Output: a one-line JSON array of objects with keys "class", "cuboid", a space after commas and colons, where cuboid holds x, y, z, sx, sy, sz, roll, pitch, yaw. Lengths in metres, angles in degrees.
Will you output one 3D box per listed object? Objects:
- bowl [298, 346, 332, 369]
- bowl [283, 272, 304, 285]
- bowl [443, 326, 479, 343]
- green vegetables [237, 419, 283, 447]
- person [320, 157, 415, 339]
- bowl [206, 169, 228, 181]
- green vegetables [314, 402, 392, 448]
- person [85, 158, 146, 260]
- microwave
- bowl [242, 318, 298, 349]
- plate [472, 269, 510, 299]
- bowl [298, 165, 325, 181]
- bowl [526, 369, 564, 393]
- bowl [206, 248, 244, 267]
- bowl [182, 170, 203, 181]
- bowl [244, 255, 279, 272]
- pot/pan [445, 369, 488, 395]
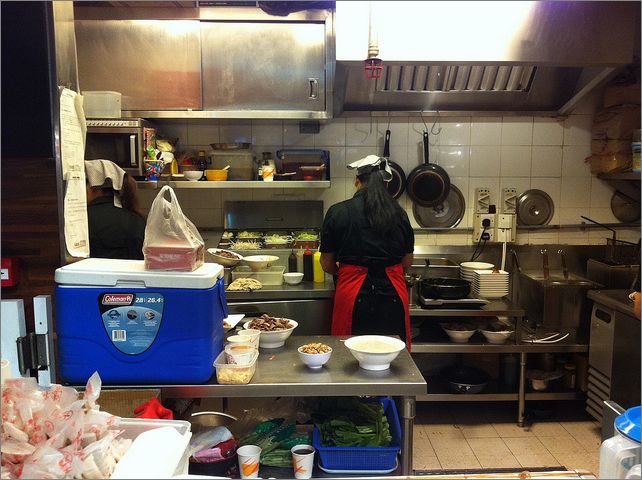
[{"class": "bowl", "cuboid": [-0.026, 0.503, 2.222, 0.109, 0.060, 0.104, 0, -1, 0]}, {"class": "bowl", "cuboid": [-0.198, 0.276, 3.687, 0.146, 0.088, 0.151, -1, 9, 0]}, {"class": "bowl", "cuboid": [1.049, 0.715, 3.854, 0.236, 0.102, 0.147, -1, 9, 0]}, {"class": "green vegetables", "cuboid": [-0.261, 0.846, 2.301, 0.275, 0.062, 0.068, -12, -18, -36]}, {"class": "person", "cuboid": [0.294, 0.071, 3.277, 0.592, 1.201, 0.335, -1, 10, -1]}, {"class": "bowl", "cuboid": [-0.837, -0.510, 4.071, 0.117, 0.048, 0.113, 1, 3, 0]}, {"class": "green vegetables", "cuboid": [0.129, 0.788, 2.267, 0.253, 0.163, 0.311, 0, 4, -3]}, {"class": "person", "cuboid": [-1.338, -0.181, 3.427, 0.428, 0.755, 0.429, 4, 13, -5]}, {"class": "microwave", "cuboid": [-1.469, -0.696, 3.952, 0.582, 0.507, 0.397, 1, 4, -1]}, {"class": "bowl", "cuboid": [-0.242, 0.466, 2.476, 0.271, 0.094, 0.256, 0, -3, 0]}, {"class": "plate", "cuboid": [1.309, 0.342, 3.918, 0.214, 0.149, 0.253, 0, 1, 3]}, {"class": "bowl", "cuboid": [-0.066, -0.538, 4.079, 0.187, 0.110, 0.120, 0, 1, -1]}, {"class": "bowl", "cuboid": [1.725, 1.075, 3.951, 0.261, 0.124, 0.232, 2, 9, 21]}, {"class": "bowl", "cuboid": [-0.697, 0.126, 3.691, 0.168, 0.064, 0.169, 18, -1, 0]}, {"class": "bowl", "cuboid": [-1.012, -0.520, 4.098, 0.155, 0.080, 0.127, -6, 10, -28]}, {"class": "bowl", "cuboid": [-0.429, 0.175, 3.655, 0.224, 0.100, 0.110, -3, 9, -11]}, {"class": "pot/pan", "cuboid": [1.114, 1.082, 3.915, 0.337, 0.107, 0.329, 2, 9, 17]}]
